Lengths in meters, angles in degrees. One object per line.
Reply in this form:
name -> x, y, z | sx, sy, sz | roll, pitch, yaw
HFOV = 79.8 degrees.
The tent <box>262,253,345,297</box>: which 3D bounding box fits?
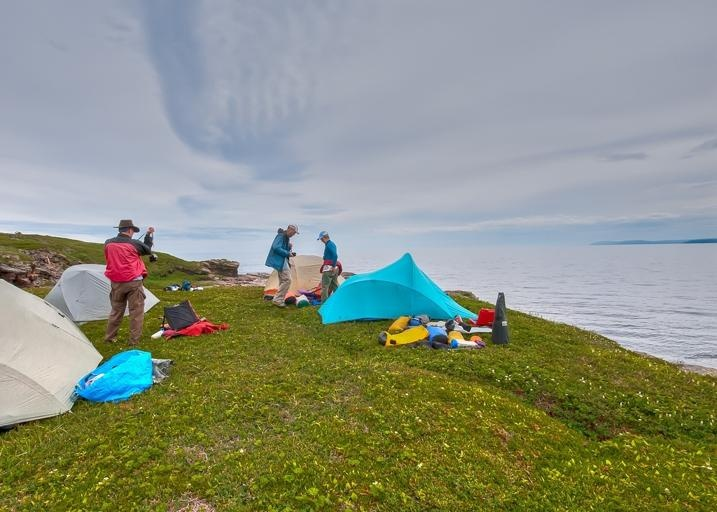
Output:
tent -> -4.410, 1.093, 33.237 | 4.840, 2.661, 4.391 | 1, 19, -10
